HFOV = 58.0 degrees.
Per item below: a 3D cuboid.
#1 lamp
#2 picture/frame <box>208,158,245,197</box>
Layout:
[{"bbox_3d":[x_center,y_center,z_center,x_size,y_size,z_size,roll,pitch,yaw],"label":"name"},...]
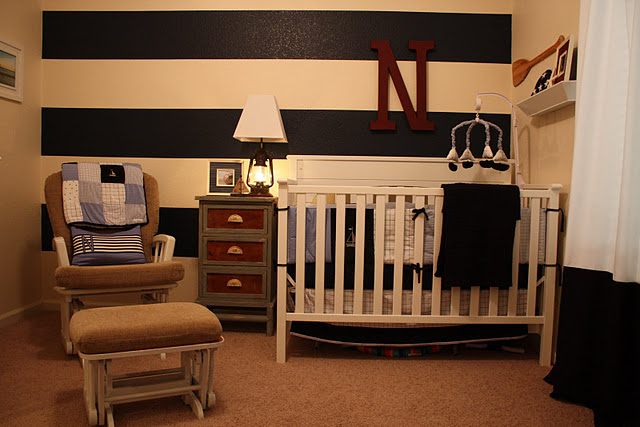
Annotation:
[{"bbox_3d":[-0.468,-0.549,4.633,0.403,0.815,0.334,-1,3,-3],"label":"lamp"},{"bbox_3d":[-0.765,-0.280,4.708,0.312,0.311,0.032,0,-6,-2],"label":"picture/frame"}]
